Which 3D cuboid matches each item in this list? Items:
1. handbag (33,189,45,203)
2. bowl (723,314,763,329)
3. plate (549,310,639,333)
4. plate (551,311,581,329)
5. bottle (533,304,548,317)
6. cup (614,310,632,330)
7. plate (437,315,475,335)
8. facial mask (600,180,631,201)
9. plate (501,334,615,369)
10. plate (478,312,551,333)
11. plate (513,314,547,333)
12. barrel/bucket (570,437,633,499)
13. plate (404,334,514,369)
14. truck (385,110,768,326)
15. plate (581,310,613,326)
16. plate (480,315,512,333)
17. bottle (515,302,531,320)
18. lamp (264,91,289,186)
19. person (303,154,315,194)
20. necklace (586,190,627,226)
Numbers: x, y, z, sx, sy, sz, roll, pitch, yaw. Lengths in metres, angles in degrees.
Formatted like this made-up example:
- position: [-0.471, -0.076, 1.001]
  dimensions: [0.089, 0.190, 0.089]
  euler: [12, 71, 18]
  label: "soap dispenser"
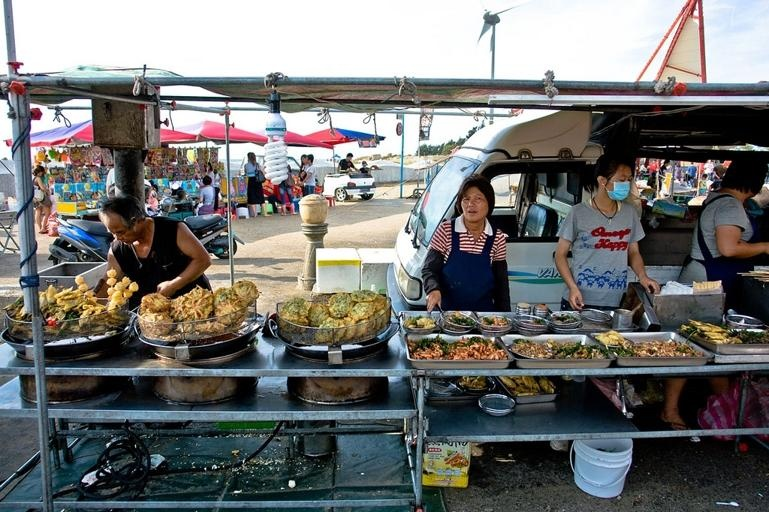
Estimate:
- position: [-8.156, -1.419, 13.879]
  dimensions: [0.216, 0.357, 0.356]
  euler: [-10, 19, -27]
  label: "handbag"
- position: [3.055, 0.575, 5.009]
  dimensions: [0.206, 0.087, 0.161]
  euler: [4, 9, 35]
  label: "bowl"
- position: [1.764, 0.582, 5.100]
  dimensions: [0.526, 0.056, 0.287]
  euler: [0, 18, -2]
  label: "plate"
- position: [1.591, 0.555, 5.138]
  dimensions: [0.259, 0.076, 0.380]
  euler: [4, 16, 16]
  label: "plate"
- position: [1.387, 0.493, 5.199]
  dimensions: [0.121, 0.080, 0.108]
  euler: [-1, 3, -2]
  label: "bottle"
- position: [2.060, 0.559, 5.060]
  dimensions: [0.162, 0.160, 0.130]
  euler: [4, 18, 17]
  label: "cup"
- position: [0.614, 0.592, 4.938]
  dimensions: [0.303, 0.117, 0.202]
  euler: [1, 16, 5]
  label: "plate"
- position: [2.110, -0.597, 5.318]
  dimensions: [0.179, 0.122, 0.182]
  euler: [-2, 16, -6]
  label: "facial mask"
- position: [1.363, 0.779, 4.641]
  dimensions: [0.555, 0.061, 0.330]
  euler: [0, 18, -3]
  label: "plate"
- position: [1.084, 0.581, 4.983]
  dimensions: [0.336, 0.054, 0.256]
  euler: [0, 7, -24]
  label: "plate"
- position: [1.232, 0.586, 4.952]
  dimensions: [0.192, 0.066, 0.182]
  euler: [6, 11, 33]
  label: "plate"
- position: [1.873, 1.834, 5.088]
  dimensions: [0.475, 0.474, 0.311]
  euler: [4, 18, 15]
  label: "barrel/bucket"
- position: [0.567, 0.765, 4.575]
  dimensions: [0.533, 0.059, 0.345]
  euler: [1, 16, -4]
  label: "plate"
- position: [2.520, -0.540, 6.906]
  dimensions: [4.552, 2.135, 2.483]
  euler: [0, 8, -2]
  label: "truck"
- position: [1.857, 0.548, 5.165]
  dimensions: [0.170, 0.038, 0.168]
  euler: [16, 19, 36]
  label: "plate"
- position: [0.944, 0.597, 4.994]
  dimensions: [0.273, 0.090, 0.254]
  euler: [2, 15, 8]
  label: "plate"
- position: [1.224, 0.502, 5.143]
  dimensions: [0.148, 0.111, 0.132]
  euler: [0, 3, 3]
  label: "bottle"
- position: [-0.884, -0.944, 4.707]
  dimensions: [0.192, 0.743, 0.545]
  euler: [-4, 17, -9]
  label: "lamp"
- position: [-2.443, -2.593, 18.887]
  dimensions: [0.393, 1.330, 1.009]
  euler: [-4, 17, -8]
  label: "person"
- position: [2.070, -0.520, 5.667]
  dimensions: [0.428, 0.445, 0.119]
  euler: [7, 7, -1]
  label: "necklace"
